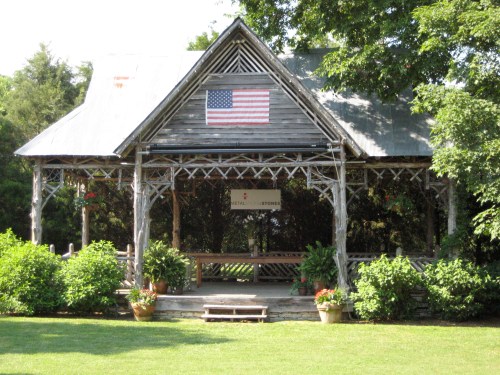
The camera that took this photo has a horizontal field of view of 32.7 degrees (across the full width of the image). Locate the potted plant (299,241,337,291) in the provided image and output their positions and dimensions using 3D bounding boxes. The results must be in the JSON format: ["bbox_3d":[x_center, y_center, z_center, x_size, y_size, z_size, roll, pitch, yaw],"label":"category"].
[{"bbox_3d":[2.800,3.046,33.148,1.633,1.788,1.670,-5,-11,36],"label":"potted plant"}]

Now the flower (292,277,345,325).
[{"bbox_3d":[2.781,4.382,31.704,1.322,1.398,1.170,1,-13,-4],"label":"flower"}]

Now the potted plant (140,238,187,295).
[{"bbox_3d":[-3.322,3.096,33.418,1.731,1.973,1.858,2,3,6],"label":"potted plant"}]

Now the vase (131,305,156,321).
[{"bbox_3d":[-3.934,4.632,31.433,0.675,0.485,0.685,-3,-7,40],"label":"vase"}]
